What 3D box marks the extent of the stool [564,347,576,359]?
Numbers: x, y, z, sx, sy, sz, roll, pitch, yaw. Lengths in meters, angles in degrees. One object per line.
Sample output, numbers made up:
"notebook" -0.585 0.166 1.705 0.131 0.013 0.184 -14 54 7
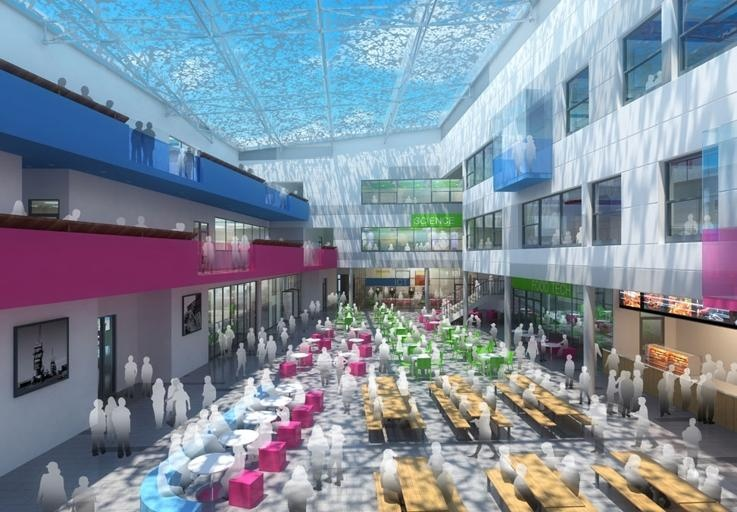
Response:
"stool" 10.383 4.860 21.920 0.529 0.689 1.664 -5 -2 30
